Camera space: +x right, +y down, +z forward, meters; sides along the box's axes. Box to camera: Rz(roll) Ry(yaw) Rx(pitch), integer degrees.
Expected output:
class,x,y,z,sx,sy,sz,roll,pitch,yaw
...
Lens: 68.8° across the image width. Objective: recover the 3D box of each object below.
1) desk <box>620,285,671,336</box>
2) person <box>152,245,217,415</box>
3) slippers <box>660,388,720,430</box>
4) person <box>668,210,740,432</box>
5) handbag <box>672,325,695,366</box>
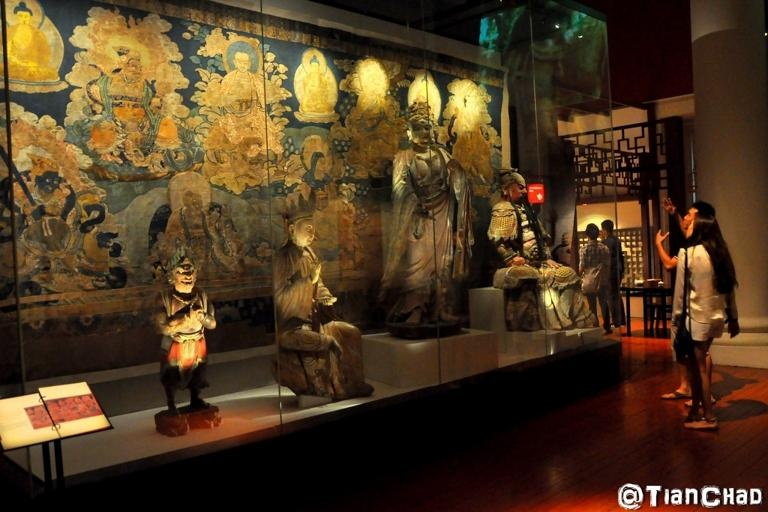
class,x,y,z,sx,sy,sz,roll,pitch,yaw
desk,4.722,0.989,10.122,1.050,0.961,1.032,-1,-6,17
person,-1.439,0.532,4.101,0.401,1.167,0.168,-5,7,-19
slippers,3.108,1.531,5.650,0.427,0.131,0.423,1,5,22
person,3.162,0.633,5.574,0.544,2.116,0.436,2,8,31
handbag,3.080,0.921,5.732,0.098,0.342,0.249,2,-3,-20
